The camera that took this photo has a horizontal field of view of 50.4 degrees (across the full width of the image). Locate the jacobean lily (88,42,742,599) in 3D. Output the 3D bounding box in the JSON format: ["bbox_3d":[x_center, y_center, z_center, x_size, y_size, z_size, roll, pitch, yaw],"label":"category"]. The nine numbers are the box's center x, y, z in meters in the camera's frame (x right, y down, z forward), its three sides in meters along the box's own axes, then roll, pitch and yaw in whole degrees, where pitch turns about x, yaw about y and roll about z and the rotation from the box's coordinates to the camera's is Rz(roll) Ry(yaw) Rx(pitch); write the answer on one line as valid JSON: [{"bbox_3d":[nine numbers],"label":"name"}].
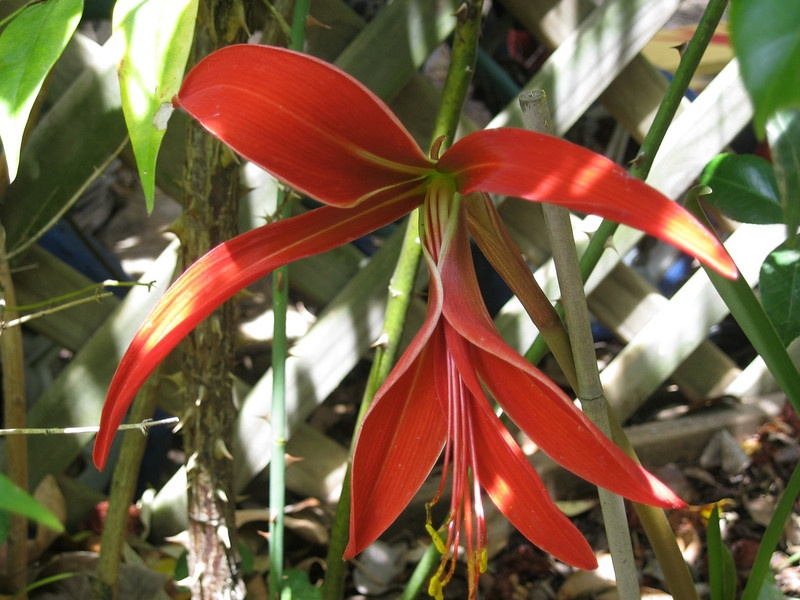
[{"bbox_3d":[0.023,0.073,1.017,0.590,0.657,0.518,-27,-15,36],"label":"jacobean lily"}]
